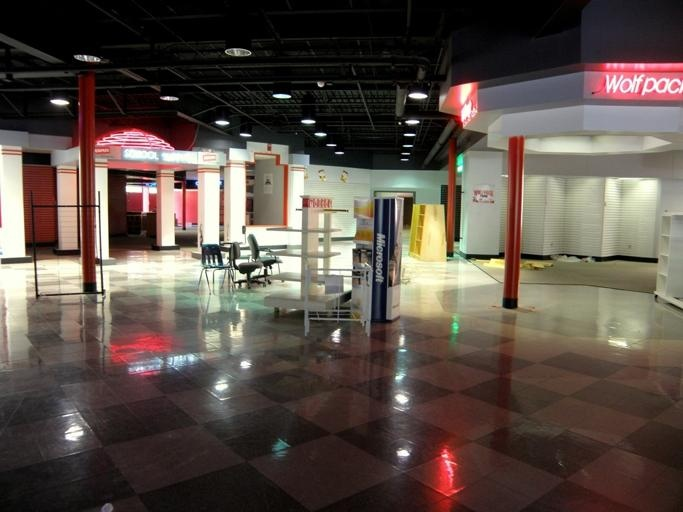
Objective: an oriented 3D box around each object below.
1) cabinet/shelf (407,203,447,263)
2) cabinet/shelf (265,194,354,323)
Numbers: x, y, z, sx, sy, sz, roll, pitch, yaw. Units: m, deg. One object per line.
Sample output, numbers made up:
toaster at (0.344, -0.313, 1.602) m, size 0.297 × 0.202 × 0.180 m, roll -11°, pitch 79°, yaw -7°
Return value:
cabinet/shelf at (3.077, -0.839, 17.212) m, size 1.102 × 1.958 × 2.199 m, roll 2°, pitch 10°, yaw 3°
cabinet/shelf at (-0.575, -0.217, 8.719) m, size 1.119 × 1.496 × 1.166 m, roll 0°, pitch 3°, yaw 13°
